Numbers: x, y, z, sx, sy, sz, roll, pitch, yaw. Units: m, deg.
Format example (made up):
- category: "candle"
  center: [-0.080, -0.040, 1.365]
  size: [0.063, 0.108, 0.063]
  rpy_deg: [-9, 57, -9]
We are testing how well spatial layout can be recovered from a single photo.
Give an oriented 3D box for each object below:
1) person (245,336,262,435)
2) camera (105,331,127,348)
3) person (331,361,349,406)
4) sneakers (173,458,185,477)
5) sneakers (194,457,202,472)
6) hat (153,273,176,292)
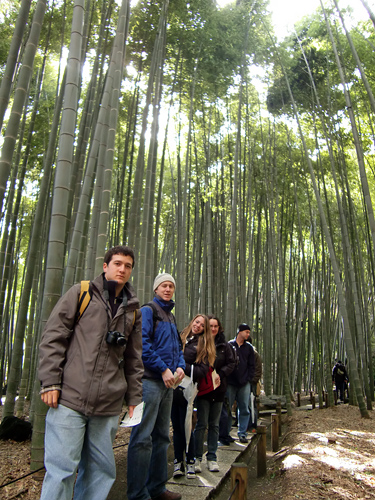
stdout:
- category: "person"
  center: [0.658, 1.380, 3.678]
  size: [0.182, 1.113, 0.125]
  rpy_deg: [1, -4, 14]
- category: "camera"
  center: [-0.218, 0.269, 1.130]
  size: [0.050, 0.052, 0.032]
  rpy_deg: [6, -2, -24]
- category: "person"
  center: [3.396, 2.943, 8.286]
  size: [0.314, 0.900, 0.260]
  rpy_deg: [4, 13, 33]
- category: "sneakers"
  center: [-0.047, 1.196, 1.996]
  size: [0.040, 0.061, 0.135]
  rpy_deg: [-5, -40, 7]
- category: "sneakers"
  center: [0.072, 1.277, 2.171]
  size: [0.046, 0.064, 0.149]
  rpy_deg: [0, -33, 5]
- category: "hat"
  center: [-0.129, 0.160, 1.856]
  size: [0.076, 0.086, 0.106]
  rpy_deg: [4, -13, -5]
